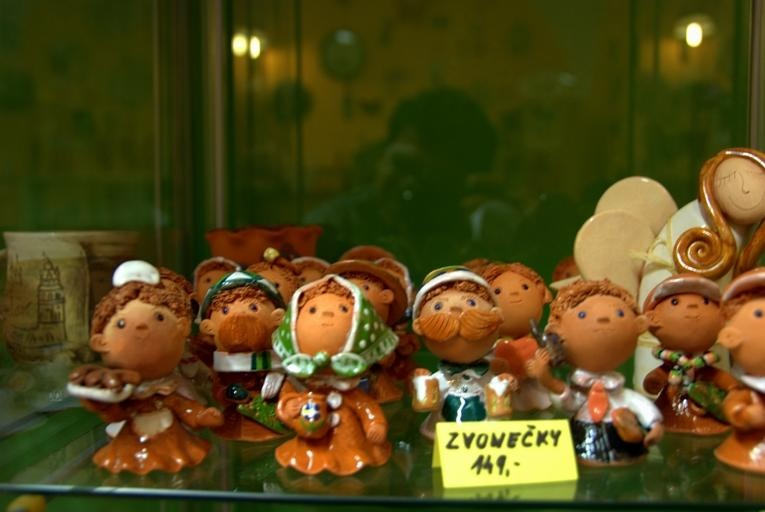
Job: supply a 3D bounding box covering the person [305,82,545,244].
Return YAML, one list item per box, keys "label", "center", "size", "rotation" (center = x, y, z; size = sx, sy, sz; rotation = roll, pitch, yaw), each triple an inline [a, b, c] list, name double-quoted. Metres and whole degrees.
- label: "person"
  center: [0.196, -0.342, 2.865]
  size: [0.544, 0.770, 0.280]
  rotation: [16, 7, 2]
